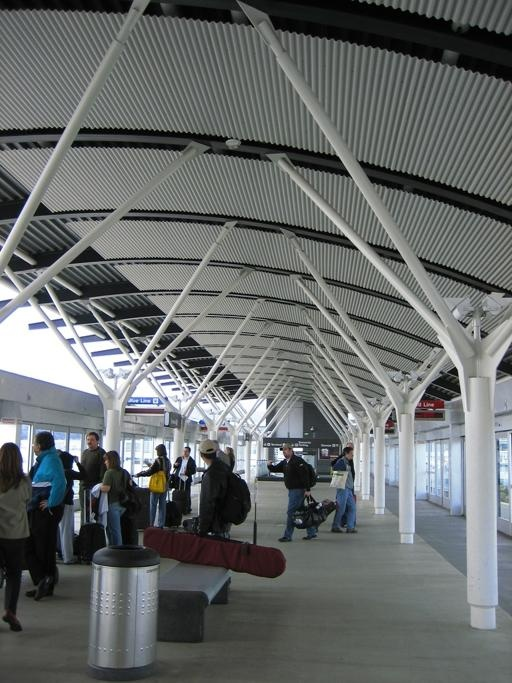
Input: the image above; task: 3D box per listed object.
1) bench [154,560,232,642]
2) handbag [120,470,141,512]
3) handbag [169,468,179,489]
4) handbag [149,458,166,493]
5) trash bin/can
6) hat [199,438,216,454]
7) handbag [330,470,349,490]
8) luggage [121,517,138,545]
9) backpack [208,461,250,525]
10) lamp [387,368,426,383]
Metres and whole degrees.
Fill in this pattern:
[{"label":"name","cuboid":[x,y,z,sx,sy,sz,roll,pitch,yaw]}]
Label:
[{"label":"bench","cuboid":[-0.698,2.917,5.679,0.742,0.761,1.765,3,-10,-4]},{"label":"handbag","cuboid":[-2.353,2.801,9.535,0.259,0.796,0.583,1,-10,5]},{"label":"handbag","cuboid":[-3.006,5.114,18.724,0.365,0.505,0.489,5,-9,-2]},{"label":"handbag","cuboid":[-2.678,3.688,13.946,0.480,1.045,1.047,3,-8,-1]},{"label":"trash bin/can","cuboid":[-1.010,2.083,3.916,0.518,0.927,0.328,4,-10,-11]},{"label":"hat","cuboid":[-0.678,1.507,7.217,0.235,0.230,0.476,3,-10,-7]},{"label":"handbag","cuboid":[2.630,4.384,16.022,0.523,0.566,0.719,0,-10,10]},{"label":"luggage","cuboid":[-2.457,3.618,9.852,0.174,0.643,0.528,1,-10,6]},{"label":"backpack","cuboid":[-0.356,2.188,7.293,0.412,0.958,0.843,-1,-10,17]},{"label":"lamp","cuboid":[7.277,1.634,24.733,1.410,0.338,0.898,9,-12,-8]}]
